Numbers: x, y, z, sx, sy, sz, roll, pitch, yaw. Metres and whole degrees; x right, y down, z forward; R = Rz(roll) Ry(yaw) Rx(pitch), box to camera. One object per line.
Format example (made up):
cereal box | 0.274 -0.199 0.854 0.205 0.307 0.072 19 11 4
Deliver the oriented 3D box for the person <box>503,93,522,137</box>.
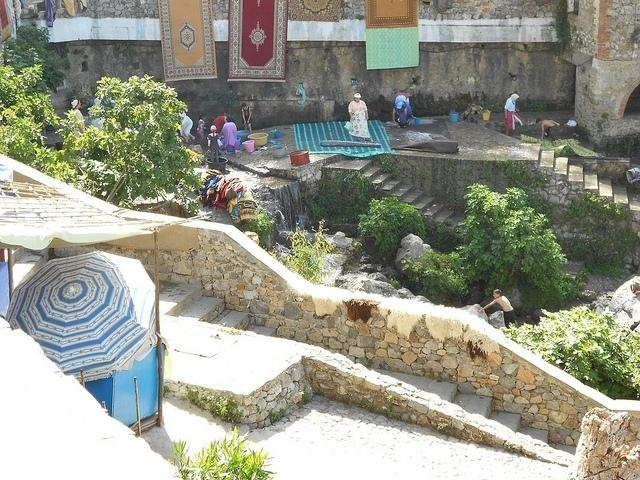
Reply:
person | 5.506 -3.587 21.070 0.549 1.432 0.699 5 45 18

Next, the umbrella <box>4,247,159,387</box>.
umbrella | -2.801 0.908 8.790 1.593 1.330 0.761 -6 15 -17

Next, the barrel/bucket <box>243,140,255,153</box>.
barrel/bucket | -1.939 -2.570 20.236 0.264 0.269 0.343 10 30 21

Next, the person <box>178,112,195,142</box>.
person | -3.889 -3.246 21.171 0.354 0.906 1.760 -4 16 -10

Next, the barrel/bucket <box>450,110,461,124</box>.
barrel/bucket | 4.070 -3.731 22.222 0.301 0.270 0.331 1 18 0

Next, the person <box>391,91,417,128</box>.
person | 2.426 -3.833 21.608 0.450 0.949 0.676 6 16 28

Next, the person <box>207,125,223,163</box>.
person | -2.737 -2.505 18.989 0.337 0.932 1.800 -3 16 -8

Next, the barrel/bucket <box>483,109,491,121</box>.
barrel/bucket | 4.973 -3.757 22.044 0.263 0.343 0.325 -1 12 -1

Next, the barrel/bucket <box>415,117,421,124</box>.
barrel/bucket | 2.914 -3.591 21.951 0.161 0.139 0.185 7 37 9

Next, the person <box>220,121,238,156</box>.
person | -2.458 -2.762 19.884 0.413 0.875 0.650 -3 15 -8

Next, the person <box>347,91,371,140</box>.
person | 1.017 -3.340 19.995 0.584 1.311 1.033 1 15 10

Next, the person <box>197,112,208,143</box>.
person | -3.510 -3.336 21.729 0.298 0.923 0.328 -3 60 -6
